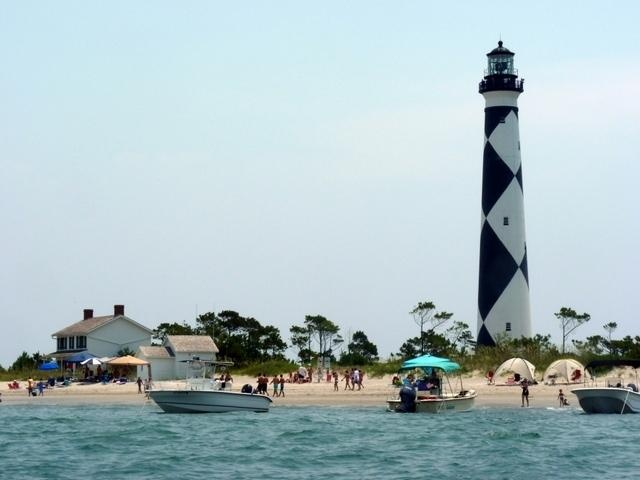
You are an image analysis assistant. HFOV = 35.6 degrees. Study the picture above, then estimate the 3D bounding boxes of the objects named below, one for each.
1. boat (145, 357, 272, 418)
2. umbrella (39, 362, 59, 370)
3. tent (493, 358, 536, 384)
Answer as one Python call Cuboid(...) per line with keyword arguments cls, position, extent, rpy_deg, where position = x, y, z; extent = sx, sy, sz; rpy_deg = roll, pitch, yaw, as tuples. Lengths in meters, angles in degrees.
Cuboid(cls="boat", position=(-6.676, 9.277, 60.593), extent=(7.242, 3.980, 3.621), rpy_deg=(-1, -3, -18))
Cuboid(cls="umbrella", position=(-22.507, 10.468, 83.398), extent=(1.133, 0.450, 1.195), rpy_deg=(2, 0, -12))
Cuboid(cls="tent", position=(12.821, 8.470, 65.499), extent=(2.223, 1.166, 2.349), rpy_deg=(1, -4, -5))
